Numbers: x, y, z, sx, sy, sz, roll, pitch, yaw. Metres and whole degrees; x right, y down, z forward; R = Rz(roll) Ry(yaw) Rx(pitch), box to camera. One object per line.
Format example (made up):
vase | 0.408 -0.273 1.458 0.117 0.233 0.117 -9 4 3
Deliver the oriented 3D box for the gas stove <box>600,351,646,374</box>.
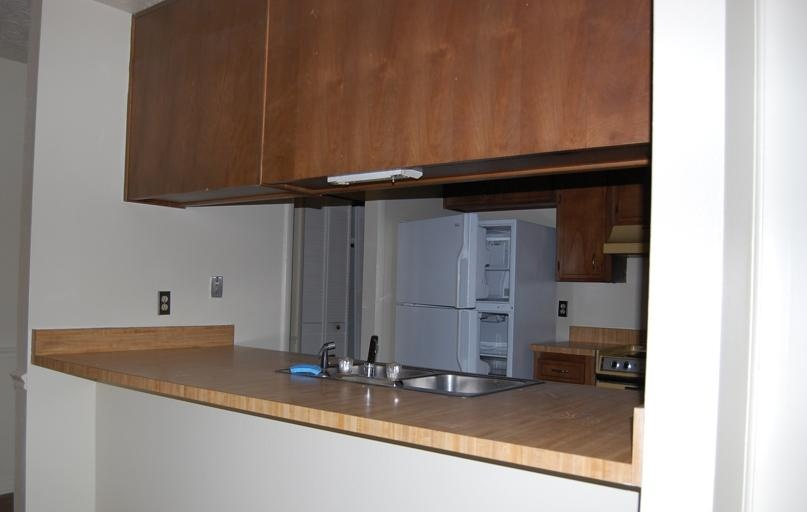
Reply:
gas stove | 1.608 0.772 4.648 0.331 0.146 0.318 2 0 39

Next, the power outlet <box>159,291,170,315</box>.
power outlet | -1.358 0.268 3.664 0.017 0.131 0.067 3 0 41

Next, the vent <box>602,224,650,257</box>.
vent | 1.629 -0.116 4.727 0.251 0.161 0.241 -3 -5 41

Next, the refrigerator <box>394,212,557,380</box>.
refrigerator | 0.502 0.338 5.489 1.113 1.572 0.852 5 22 20

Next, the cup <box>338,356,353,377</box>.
cup | -0.302 0.554 3.188 0.073 0.075 0.070 1 -6 0

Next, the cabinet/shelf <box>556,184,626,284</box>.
cabinet/shelf | 1.444 -0.175 5.126 0.434 0.770 0.271 0 -3 31

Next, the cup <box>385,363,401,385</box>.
cup | -0.061 0.562 3.063 0.073 0.086 0.073 1 -4 0
